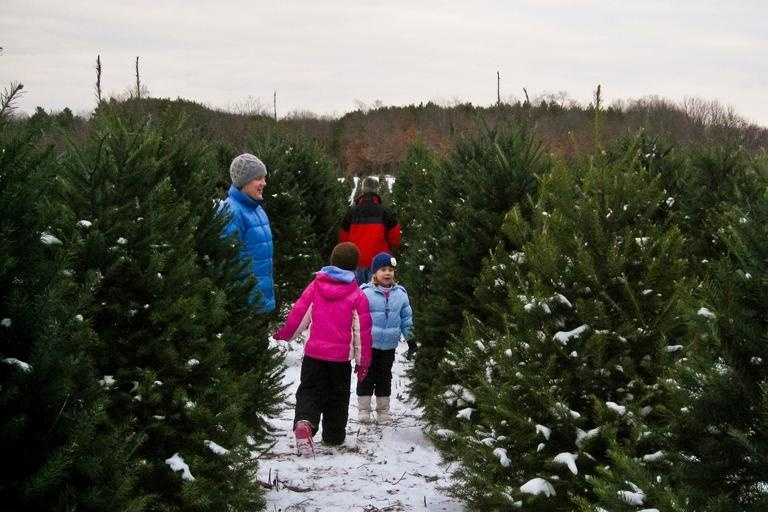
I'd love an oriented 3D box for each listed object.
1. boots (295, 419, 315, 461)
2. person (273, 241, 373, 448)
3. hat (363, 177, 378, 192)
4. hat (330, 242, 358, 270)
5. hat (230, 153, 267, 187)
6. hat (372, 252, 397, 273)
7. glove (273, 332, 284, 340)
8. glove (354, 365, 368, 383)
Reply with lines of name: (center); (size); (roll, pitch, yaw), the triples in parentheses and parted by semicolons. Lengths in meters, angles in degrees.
boots: (-0.668, 1.526, 7.105); (0.118, 0.402, 0.165); (-1, 32, 1)
person: (-0.459, 0.770, 7.335); (0.840, 1.750, 0.533); (-1, 5, -34)
hat: (-0.164, -0.920, 10.476); (0.130, 0.201, 0.192); (6, 35, -7)
hat: (-0.359, 0.002, 7.506); (0.169, 0.265, 0.250); (5, 24, -10)
hat: (-1.234, -0.781, 7.645); (0.258, 0.301, 0.276); (-1, 9, -10)
hat: (-0.004, 0.047, 8.280); (0.167, 0.193, 0.190); (5, -1, 9)
glove: (-0.913, 0.680, 7.273); (0.065, 0.061, 0.073); (3, -5, -17)
glove: (-0.210, 1.040, 7.603); (0.091, 0.195, 0.169); (2, 0, -3)
